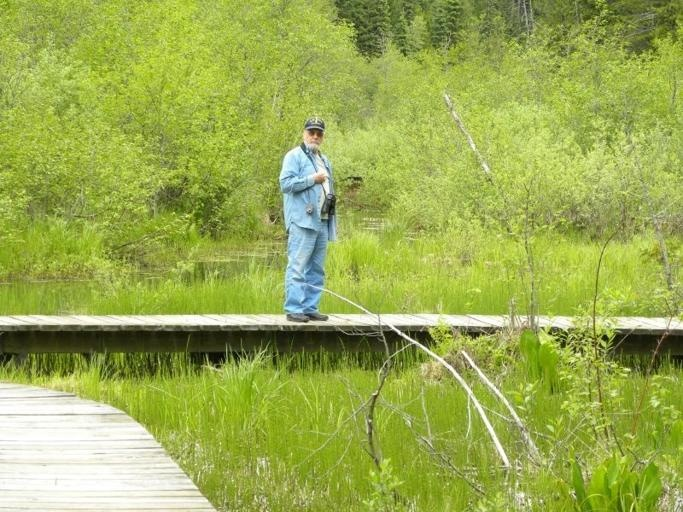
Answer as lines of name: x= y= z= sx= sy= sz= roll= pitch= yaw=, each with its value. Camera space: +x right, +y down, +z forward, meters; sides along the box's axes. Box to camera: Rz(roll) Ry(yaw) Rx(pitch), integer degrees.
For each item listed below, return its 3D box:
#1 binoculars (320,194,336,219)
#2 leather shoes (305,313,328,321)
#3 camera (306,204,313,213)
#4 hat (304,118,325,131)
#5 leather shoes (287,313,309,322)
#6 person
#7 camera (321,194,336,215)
binoculars: x=-0.184 y=-0.636 z=12.523 sx=0.215 sy=0.315 sz=0.114 roll=3 pitch=8 yaw=-39
leather shoes: x=-0.318 y=0.812 z=12.597 sx=0.219 sy=0.110 sz=0.122 roll=0 pitch=0 yaw=1
camera: x=-0.419 y=-0.608 z=12.377 sx=0.088 sy=0.122 sz=0.052 roll=-1 pitch=1 yaw=-5
hat: x=-0.359 y=-1.728 z=12.499 sx=0.234 sy=0.190 sz=0.232 roll=-1 pitch=1 yaw=3
leather shoes: x=-0.569 y=0.821 z=12.531 sx=0.279 sy=0.153 sz=0.116 roll=-2 pitch=-1 yaw=11
person: x=-0.437 y=-0.466 z=12.542 sx=0.705 sy=2.671 sz=0.543 roll=-1 pitch=1 yaw=0
camera: x=-0.186 y=-0.674 z=12.515 sx=0.146 sy=0.318 sz=0.199 roll=11 pitch=6 yaw=43
